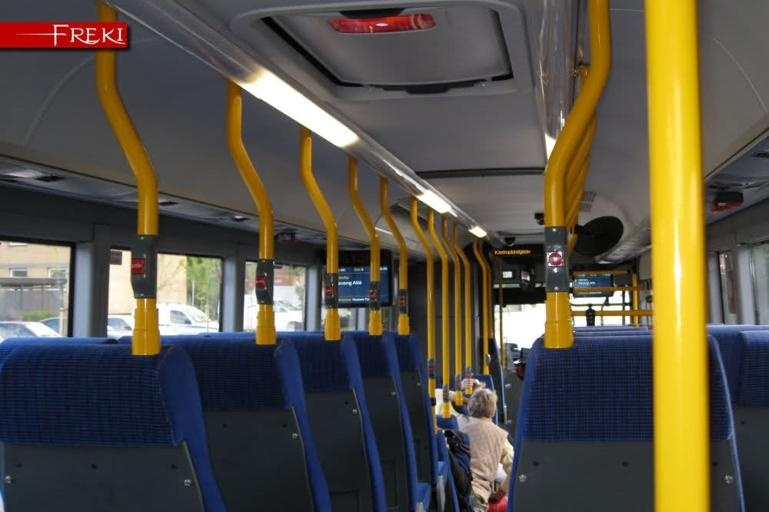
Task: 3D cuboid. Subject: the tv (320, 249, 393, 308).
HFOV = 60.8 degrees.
[{"bbox_3d":[-0.305,0.350,9.077,0.803,0.779,0.110,-1,-16,4],"label":"tv"}]
